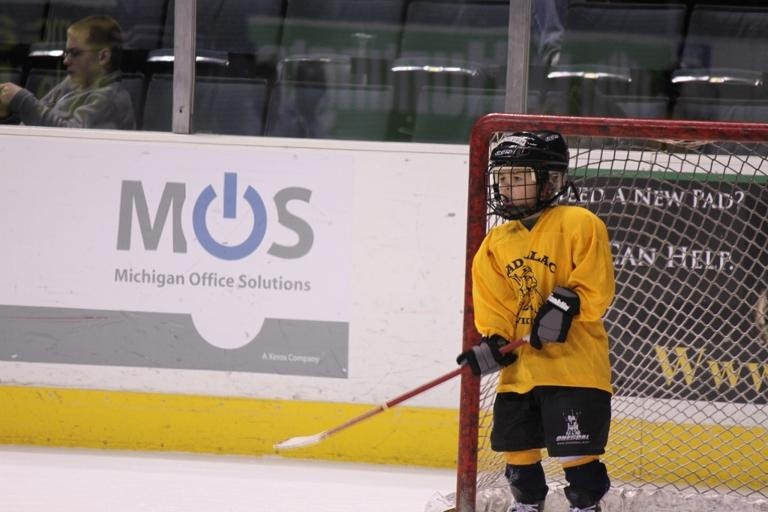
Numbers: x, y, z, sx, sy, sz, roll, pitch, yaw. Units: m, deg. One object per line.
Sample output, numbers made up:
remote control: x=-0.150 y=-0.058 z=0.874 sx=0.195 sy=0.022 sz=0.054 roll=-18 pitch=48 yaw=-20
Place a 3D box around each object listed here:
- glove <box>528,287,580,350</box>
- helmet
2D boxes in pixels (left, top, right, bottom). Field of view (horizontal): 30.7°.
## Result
glove: x=0.904 y=0.329 z=7.207 sx=0.197 sy=0.336 sz=0.128 roll=34 pitch=5 yaw=18
helmet: x=0.664 y=-0.417 z=7.387 sx=0.543 sy=0.439 sz=0.409 roll=4 pitch=-6 yaw=-31
